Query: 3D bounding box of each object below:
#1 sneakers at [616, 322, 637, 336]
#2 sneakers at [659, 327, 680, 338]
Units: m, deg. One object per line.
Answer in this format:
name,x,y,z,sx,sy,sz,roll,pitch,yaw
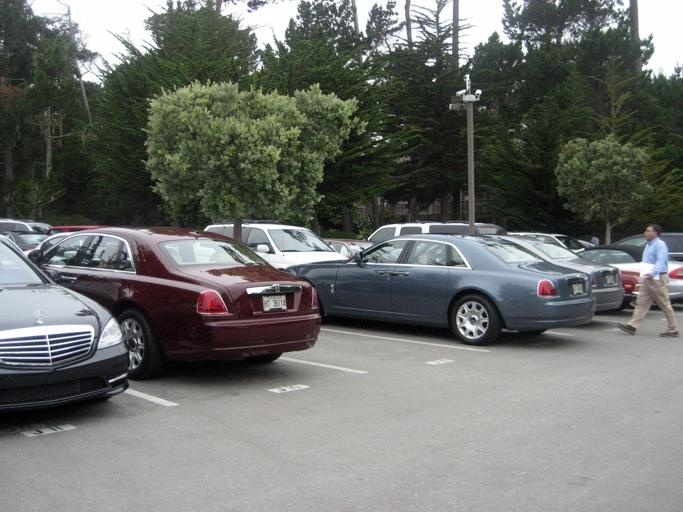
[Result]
sneakers,5.737,1.474,11.045,0.357,0.161,0.121,27,-4,3
sneakers,6.398,1.509,10.758,0.378,0.149,0.154,1,0,28
